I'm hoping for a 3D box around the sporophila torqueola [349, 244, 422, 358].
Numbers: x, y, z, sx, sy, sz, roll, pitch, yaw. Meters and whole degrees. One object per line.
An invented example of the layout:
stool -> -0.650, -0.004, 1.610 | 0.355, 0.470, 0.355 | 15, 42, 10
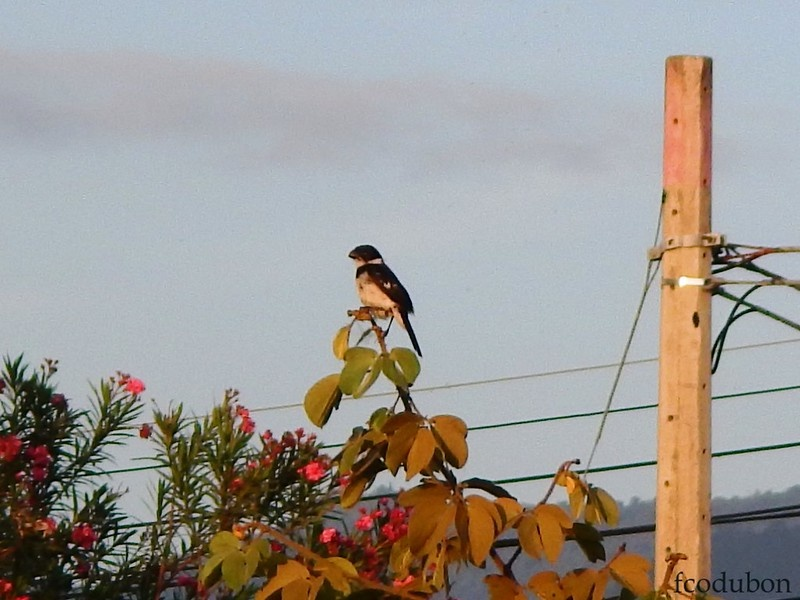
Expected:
sporophila torqueola -> -0.087, -0.003, 15.081 | 0.596, 0.638, 0.227 | 15, -22, -3
